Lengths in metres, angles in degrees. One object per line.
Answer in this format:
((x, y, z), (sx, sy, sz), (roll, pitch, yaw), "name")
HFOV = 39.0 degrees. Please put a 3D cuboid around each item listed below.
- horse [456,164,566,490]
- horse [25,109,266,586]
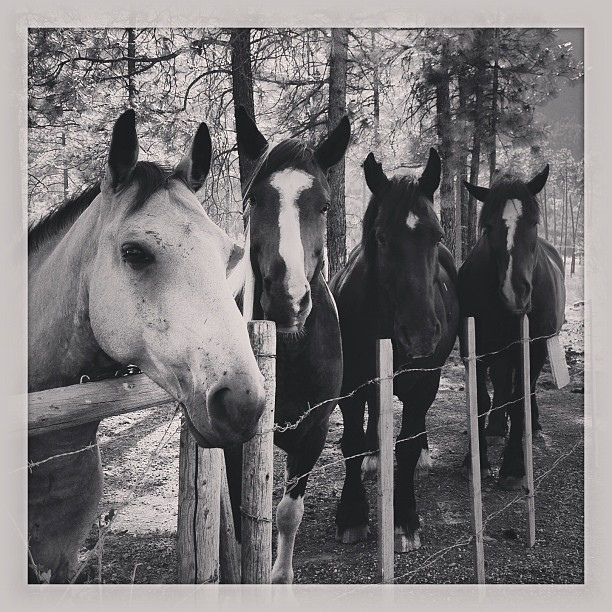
((1.782, 0.124, 7.608), (0.873, 2.747, 1.731), (4, 12, 17), "horse")
((-0.938, 0.284, 4.772), (1.426, 2.677, 0.906), (1, 11, 2), "horse")
